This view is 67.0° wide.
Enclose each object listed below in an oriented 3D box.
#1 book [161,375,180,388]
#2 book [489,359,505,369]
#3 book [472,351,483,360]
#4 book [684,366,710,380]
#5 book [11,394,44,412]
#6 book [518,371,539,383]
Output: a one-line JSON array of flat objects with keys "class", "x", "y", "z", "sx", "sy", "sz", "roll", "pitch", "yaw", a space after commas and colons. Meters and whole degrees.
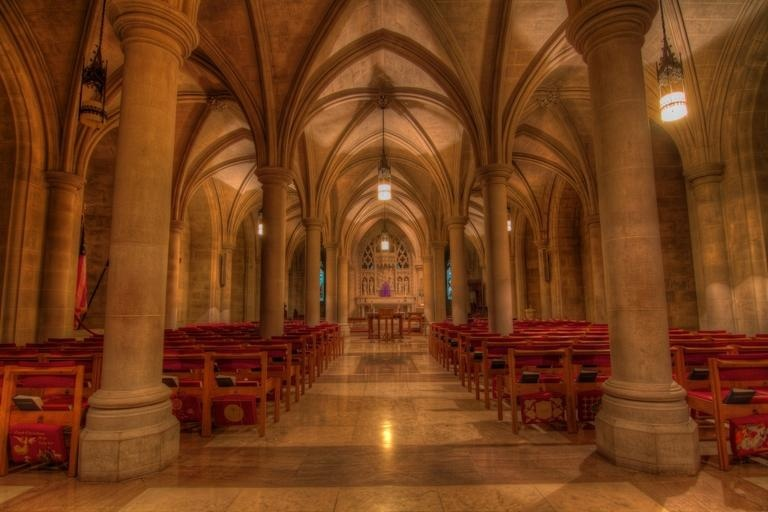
[{"class": "book", "x": -3.996, "y": 2.367, "z": 10.960, "sx": 0.293, "sy": 0.241, "sz": 0.075, "roll": 8, "pitch": 4, "yaw": 16}, {"class": "book", "x": 2.477, "y": 2.337, "z": 12.594, "sx": 0.267, "sy": 0.133, "sz": 0.227, "roll": -1, "pitch": -11, "yaw": 2}, {"class": "book", "x": 2.210, "y": 2.297, "z": 13.515, "sx": 0.260, "sy": 0.146, "sz": 0.226, "roll": -2, "pitch": -7, "yaw": 3}, {"class": "book", "x": 5.878, "y": 2.201, "z": 10.793, "sx": 0.394, "sy": 0.257, "sz": 0.081, "roll": -3, "pitch": 15, "yaw": -9}, {"class": "book", "x": -6.096, "y": 2.506, "z": 9.928, "sx": 0.519, "sy": 0.313, "sz": 0.193, "roll": -1, "pitch": 14, "yaw": -1}, {"class": "book", "x": 2.780, "y": 2.293, "z": 11.079, "sx": 0.289, "sy": 0.158, "sz": 0.234, "roll": 0, "pitch": 1, "yaw": 1}]
